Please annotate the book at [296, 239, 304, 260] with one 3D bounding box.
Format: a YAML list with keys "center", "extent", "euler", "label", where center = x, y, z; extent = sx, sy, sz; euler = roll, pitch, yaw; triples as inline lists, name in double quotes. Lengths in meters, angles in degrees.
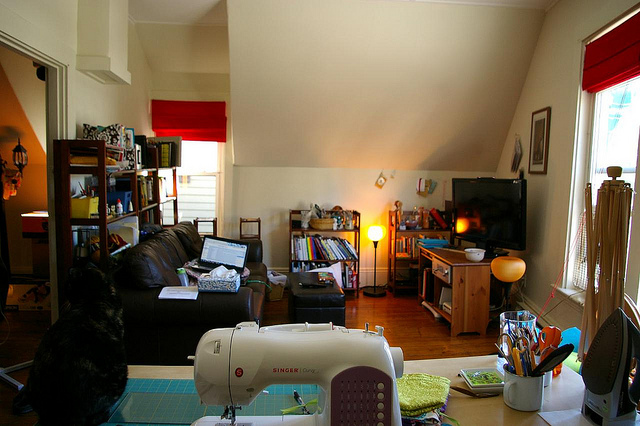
- center: [-0.253, 0.457, 5.799]
  extent: [0.078, 0.241, 0.026]
  euler: [0, 5, -5]
  label: "book"

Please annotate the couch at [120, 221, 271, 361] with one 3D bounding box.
- center: [-1.129, 0.333, 4.055]
  extent: [0.872, 0.752, 1.577]
  euler: [0, 7, -7]
  label: "couch"

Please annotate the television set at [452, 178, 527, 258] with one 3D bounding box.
- center: [1.846, 0.045, 4.954]
  extent: [0.222, 0.582, 0.748]
  euler: [-8, 13, -24]
  label: "television set"

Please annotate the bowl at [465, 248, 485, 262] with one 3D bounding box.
- center: [1.598, 0.428, 4.772]
  extent: [0.176, 0.116, 0.176]
  euler: [0, 5, 0]
  label: "bowl"

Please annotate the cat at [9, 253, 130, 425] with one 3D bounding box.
- center: [-1.238, 0.648, 2.335]
  extent: [0.493, 0.753, 0.336]
  euler: [-2, 5, -18]
  label: "cat"

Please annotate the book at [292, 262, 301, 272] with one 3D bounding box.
- center: [-0.295, 0.670, 5.894]
  extent: [0.107, 0.115, 0.048]
  euler: [-1, 5, -11]
  label: "book"

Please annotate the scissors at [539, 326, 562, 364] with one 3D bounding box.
- center: [1.237, 0.716, 2.488]
  extent: [0.107, 0.166, 0.300]
  euler: [3, 6, 27]
  label: "scissors"

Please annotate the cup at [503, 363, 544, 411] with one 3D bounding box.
- center: [1.036, 0.888, 2.385]
  extent: [0.195, 0.154, 0.155]
  euler: [-6, 8, -34]
  label: "cup"

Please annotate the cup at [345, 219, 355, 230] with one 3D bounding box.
- center: [0.388, 0.139, 5.946]
  extent: [0.123, 0.120, 0.201]
  euler: [12, 7, 5]
  label: "cup"

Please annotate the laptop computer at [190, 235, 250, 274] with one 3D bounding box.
- center: [-0.917, 0.422, 4.291]
  extent: [0.468, 0.303, 0.364]
  euler: [11, 11, 1]
  label: "laptop computer"

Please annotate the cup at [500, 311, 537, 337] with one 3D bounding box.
- center: [1.103, 0.605, 2.568]
  extent: [0.126, 0.152, 0.151]
  euler: [1, -3, 5]
  label: "cup"

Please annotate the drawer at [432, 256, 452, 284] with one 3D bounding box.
- center: [1.294, 0.599, 4.900]
  extent: [0.170, 0.122, 0.245]
  euler: [0, 5, -4]
  label: "drawer"
